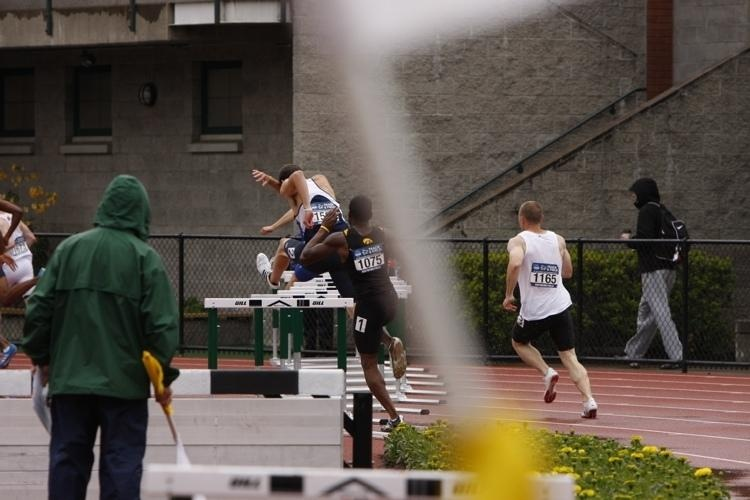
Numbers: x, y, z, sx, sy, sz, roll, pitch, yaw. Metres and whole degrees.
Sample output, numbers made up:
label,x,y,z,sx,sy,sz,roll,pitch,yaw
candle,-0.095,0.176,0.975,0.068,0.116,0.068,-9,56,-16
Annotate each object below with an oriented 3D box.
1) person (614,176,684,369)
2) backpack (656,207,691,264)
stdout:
label,x,y,z,sx,sy,sz,roll,pitch,yaw
person,4.336,0.232,20.958,1.074,2.718,0.871,-1,-2,-30
backpack,4.609,-0.210,21.061,0.480,0.840,0.753,-1,-16,16
